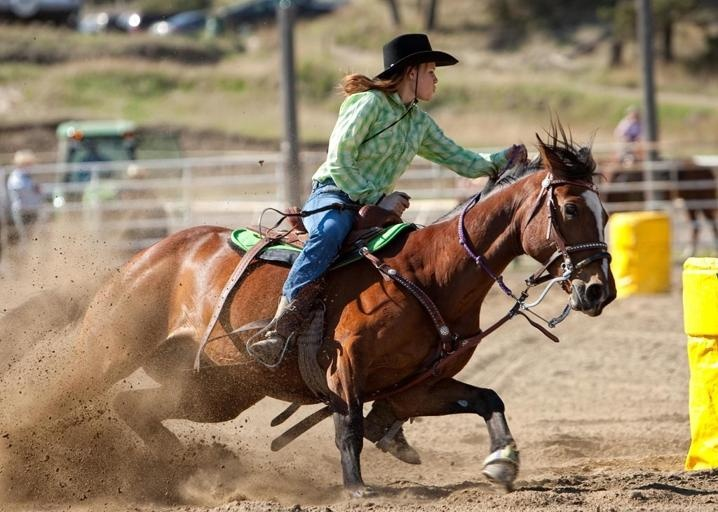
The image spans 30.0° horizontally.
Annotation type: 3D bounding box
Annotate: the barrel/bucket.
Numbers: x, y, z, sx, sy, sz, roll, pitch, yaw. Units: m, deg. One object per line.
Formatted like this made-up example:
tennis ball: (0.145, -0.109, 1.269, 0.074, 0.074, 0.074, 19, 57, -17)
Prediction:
barrel/bucket: (4.676, -0.034, 22.400, 0.887, 1.235, 0.904, 0, 4, 0)

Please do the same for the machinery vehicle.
machinery vehicle: (-4.568, -1.523, 23.532, 0.874, 1.565, 0.872, 15, 25, 29)

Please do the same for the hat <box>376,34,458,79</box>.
hat: (0.624, -2.402, 16.233, 1.085, 0.402, 0.928, -16, -4, -7)

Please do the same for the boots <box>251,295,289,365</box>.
boots: (-1.060, 0.921, 16.046, 0.554, 0.807, 0.488, 19, 25, 41)
